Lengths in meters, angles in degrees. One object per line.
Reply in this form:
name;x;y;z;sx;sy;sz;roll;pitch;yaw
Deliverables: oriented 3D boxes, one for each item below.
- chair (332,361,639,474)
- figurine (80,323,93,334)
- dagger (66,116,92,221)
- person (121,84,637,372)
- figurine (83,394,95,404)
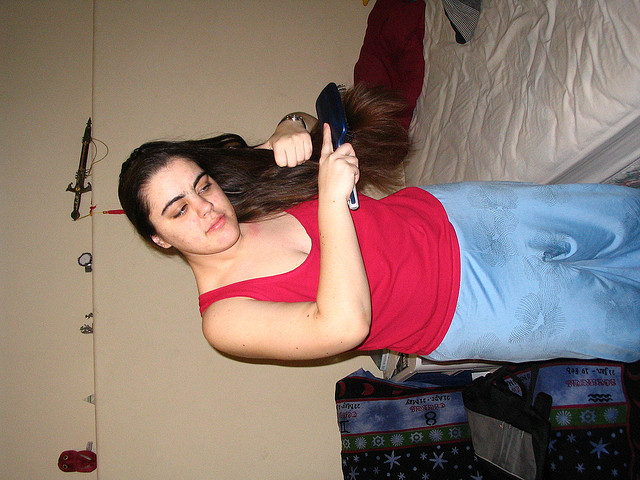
chair;0.726;0.818;2.370;1.326;0.413;0.317;-7;-4;20
figurine;-1.125;0.434;2.522;0.086;0.046;0.039;-8;-4;27
dagger;-1.217;-0.379;2.656;0.150;0.561;0.137;-3;-4;-36
person;0.234;-0.017;1.824;1.394;0.811;0.411;-7;-37;-9
figurine;-1.099;0.758;2.480;0.052;0.040;0.016;-6;-3;10
